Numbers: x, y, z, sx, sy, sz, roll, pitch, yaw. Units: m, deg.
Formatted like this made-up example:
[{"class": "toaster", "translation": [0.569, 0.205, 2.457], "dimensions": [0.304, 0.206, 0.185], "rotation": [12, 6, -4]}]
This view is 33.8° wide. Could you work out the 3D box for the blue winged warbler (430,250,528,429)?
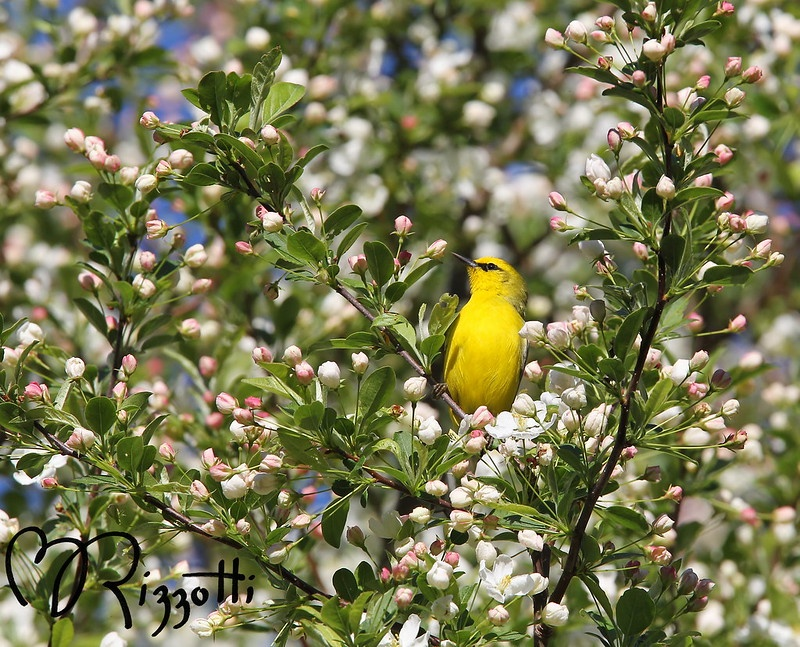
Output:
[{"class": "blue winged warbler", "translation": [0.412, 0.107, 6.734], "dimensions": [0.618, 0.407, 0.951], "rotation": [13, 38, 8]}]
